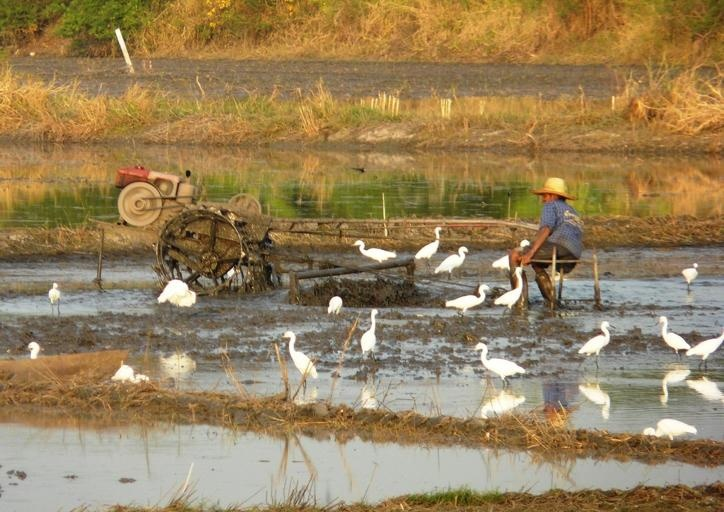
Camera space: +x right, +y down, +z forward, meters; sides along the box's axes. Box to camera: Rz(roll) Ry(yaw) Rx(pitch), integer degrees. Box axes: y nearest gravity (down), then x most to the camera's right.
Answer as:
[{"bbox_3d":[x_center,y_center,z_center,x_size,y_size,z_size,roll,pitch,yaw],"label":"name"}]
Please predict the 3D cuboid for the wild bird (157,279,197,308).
[{"bbox_3d":[-5.759,1.210,57.178,1.207,1.087,0.913,-4,27,-9],"label":"wild bird"}]

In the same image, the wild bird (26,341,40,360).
[{"bbox_3d":[-9.630,2.807,54.141,0.348,0.477,0.135,-3,-8,36],"label":"wild bird"}]

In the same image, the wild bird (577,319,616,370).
[{"bbox_3d":[7.070,2.706,54.966,1.290,1.377,1.025,-1,17,-4],"label":"wild bird"}]

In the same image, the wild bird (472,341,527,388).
[{"bbox_3d":[4.008,3.116,53.891,1.067,0.969,1.756,-21,33,-35],"label":"wild bird"}]

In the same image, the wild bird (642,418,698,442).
[{"bbox_3d":[8.734,4.962,52.058,1.758,0.724,0.604,0,9,1],"label":"wild bird"}]

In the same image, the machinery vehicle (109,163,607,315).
[{"bbox_3d":[-0.580,-0.673,59.684,12.558,3.700,6.751,2,2,2],"label":"machinery vehicle"}]

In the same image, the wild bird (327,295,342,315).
[{"bbox_3d":[-0.797,1.558,56.755,0.350,0.618,0.246,19,47,10],"label":"wild bird"}]
